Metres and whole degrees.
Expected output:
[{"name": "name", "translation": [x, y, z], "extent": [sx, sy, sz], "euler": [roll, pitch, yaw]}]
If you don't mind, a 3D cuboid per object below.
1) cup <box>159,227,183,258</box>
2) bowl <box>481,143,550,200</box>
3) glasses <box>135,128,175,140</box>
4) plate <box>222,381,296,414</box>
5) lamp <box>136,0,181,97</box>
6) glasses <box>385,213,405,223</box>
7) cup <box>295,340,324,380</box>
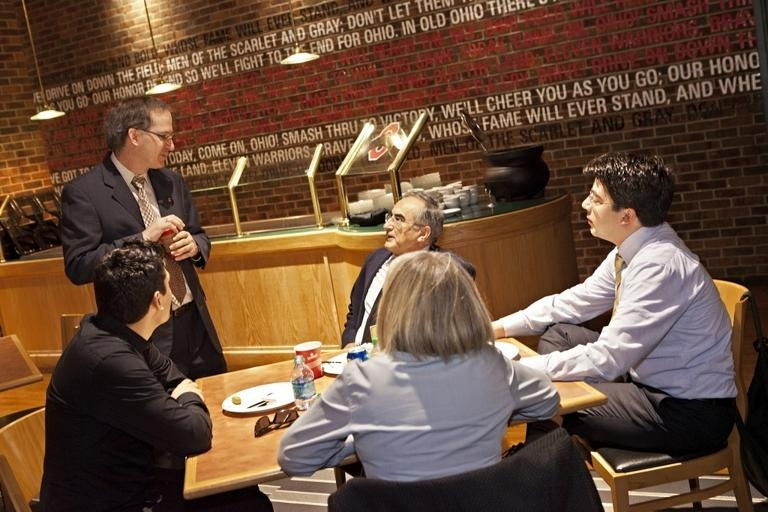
[{"name": "cup", "translation": [-1.136, -0.069, 2.983], "extent": [0.046, 0.148, 0.108], "euler": [-4, -6, 39]}, {"name": "bowl", "translation": [1.139, -0.704, 4.920], "extent": [0.588, 0.444, 0.592], "euler": [-10, 16, 3]}, {"name": "glasses", "translation": [-1.303, -0.693, 3.185], "extent": [0.122, 0.033, 0.117], "euler": [21, 9, 6]}, {"name": "plate", "translation": [-0.547, 0.629, 2.477], "extent": [0.186, 0.026, 0.185], "euler": [-1, 14, 22]}, {"name": "lamp", "translation": [-2.872, -2.622, 7.040], "extent": [0.435, 1.043, 0.836], "euler": [-14, 7, -22]}, {"name": "glasses", "translation": [0.063, -0.234, 3.504], "extent": [0.102, 0.050, 0.338], "euler": [-11, 6, -5]}, {"name": "cup", "translation": [-0.331, 0.492, 2.672], "extent": [0.153, 0.151, 0.154], "euler": [-8, -5, -1]}]
